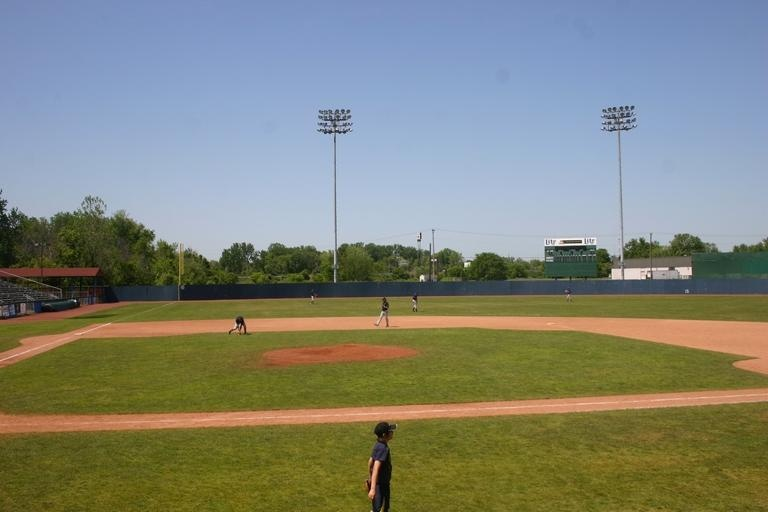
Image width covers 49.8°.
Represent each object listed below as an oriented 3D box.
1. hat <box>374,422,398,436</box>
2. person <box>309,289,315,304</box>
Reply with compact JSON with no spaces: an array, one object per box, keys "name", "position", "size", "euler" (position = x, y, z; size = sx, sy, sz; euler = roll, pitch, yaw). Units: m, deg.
[{"name":"hat","position":[0.036,6.784,32.205],"size":[0.980,0.450,0.611],"euler":[-6,23,-8]},{"name":"person","position":[-7.422,4.228,86.347],"size":[0.516,1.351,2.353],"euler":[-3,9,-11]}]
